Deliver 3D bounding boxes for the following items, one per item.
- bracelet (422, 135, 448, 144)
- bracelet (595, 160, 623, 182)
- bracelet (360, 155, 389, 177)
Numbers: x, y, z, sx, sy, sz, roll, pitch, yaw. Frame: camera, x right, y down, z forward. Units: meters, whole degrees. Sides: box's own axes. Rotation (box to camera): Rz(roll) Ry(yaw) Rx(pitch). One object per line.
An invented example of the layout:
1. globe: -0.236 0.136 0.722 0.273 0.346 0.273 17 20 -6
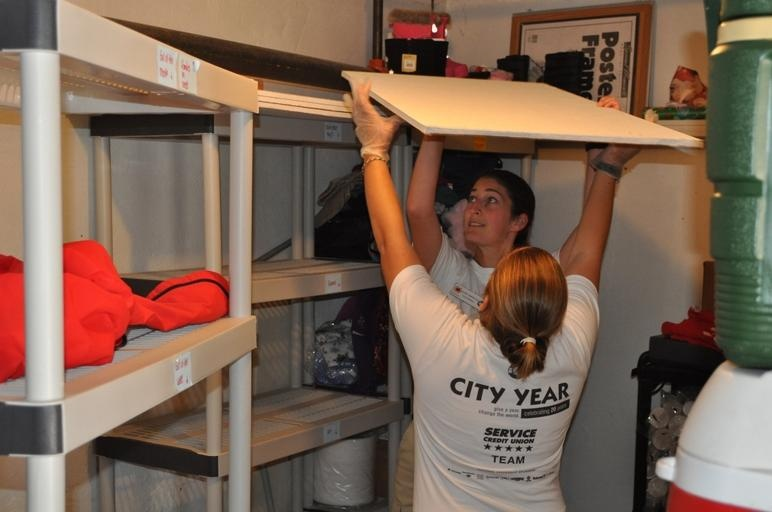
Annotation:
1. bracelet: 0.164 -0.389 2.194 0.092 0.022 0.083 0 2 -23
2. bracelet: 0.700 -0.274 2.072 0.083 0.025 0.052 34 13 11
3. bracelet: -0.021 -0.287 2.037 0.084 0.081 0.084 -3 12 -28
